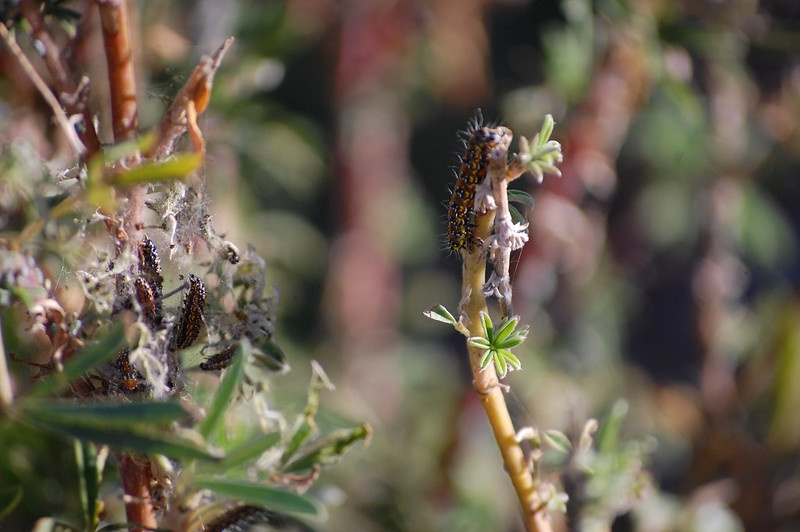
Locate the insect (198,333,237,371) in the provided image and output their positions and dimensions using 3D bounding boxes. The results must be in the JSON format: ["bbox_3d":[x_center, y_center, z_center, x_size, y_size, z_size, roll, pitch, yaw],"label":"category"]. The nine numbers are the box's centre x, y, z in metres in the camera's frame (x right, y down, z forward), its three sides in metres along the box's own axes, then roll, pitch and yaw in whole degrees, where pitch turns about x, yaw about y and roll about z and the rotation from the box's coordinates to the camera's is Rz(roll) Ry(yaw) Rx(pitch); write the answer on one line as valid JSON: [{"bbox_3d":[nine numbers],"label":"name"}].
[{"bbox_3d":[-0.190,0.093,1.195,0.046,0.015,0.026,-44,71,12],"label":"insect"}]

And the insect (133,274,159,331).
[{"bbox_3d":[-0.260,0.036,1.157,0.010,0.041,0.043,-20,42,17],"label":"insect"}]

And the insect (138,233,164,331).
[{"bbox_3d":[-0.261,0.015,1.165,0.022,0.094,0.029,-2,-4,-16],"label":"insect"}]

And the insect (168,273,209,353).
[{"bbox_3d":[-0.219,0.051,1.176,0.027,0.093,0.026,4,19,2],"label":"insect"}]

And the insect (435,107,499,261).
[{"bbox_3d":[0.065,-0.078,1.201,0.049,0.163,0.055,27,28,34],"label":"insect"}]
